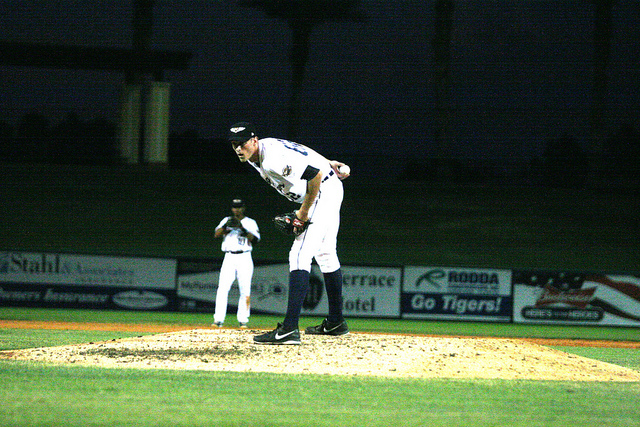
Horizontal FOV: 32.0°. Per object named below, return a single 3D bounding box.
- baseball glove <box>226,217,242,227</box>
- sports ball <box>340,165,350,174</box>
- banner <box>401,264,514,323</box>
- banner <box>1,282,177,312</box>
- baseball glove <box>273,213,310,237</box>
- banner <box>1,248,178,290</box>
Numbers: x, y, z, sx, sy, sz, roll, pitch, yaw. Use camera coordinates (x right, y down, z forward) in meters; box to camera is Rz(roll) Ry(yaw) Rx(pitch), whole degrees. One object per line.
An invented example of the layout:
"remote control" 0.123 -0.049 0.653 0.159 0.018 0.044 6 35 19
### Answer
"baseball glove" -1.665 0.182 21.739 0.254 0.199 0.204 4 -3 2
"sports ball" 0.435 -0.755 19.289 0.161 0.124 0.146 -2 -5 0
"banner" 2.742 1.601 22.264 2.196 1.070 0.260 2 -3 0
"banner" -4.656 1.685 22.544 3.487 0.482 0.137 1 -3 2
"baseball glove" -0.546 0.202 18.822 0.524 0.168 0.380 7 7 33
"banner" -4.630 1.181 22.322 3.445 0.804 0.245 2 1 -7
